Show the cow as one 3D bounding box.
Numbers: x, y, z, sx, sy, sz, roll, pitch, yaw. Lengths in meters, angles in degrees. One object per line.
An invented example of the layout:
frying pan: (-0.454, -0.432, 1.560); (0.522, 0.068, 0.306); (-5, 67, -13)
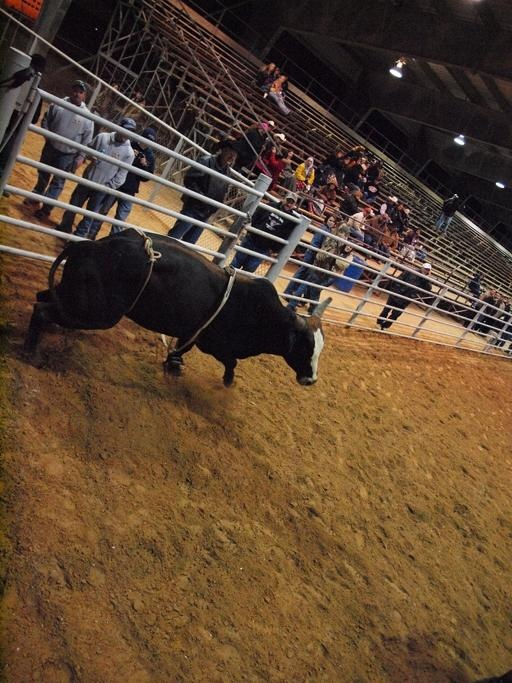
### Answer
cow: (-0.459, -0.127, 3.513); (2.030, 0.830, 0.537); (15, 6, -22)

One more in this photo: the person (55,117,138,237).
person: (-1.538, -1.607, 5.147); (0.447, 1.259, 0.792); (29, 15, -25)

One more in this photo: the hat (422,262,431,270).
hat: (3.902, -1.724, 11.961); (0.202, 0.130, 0.263); (4, 8, 9)

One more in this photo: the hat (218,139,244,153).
hat: (-0.258, -1.939, 5.164); (0.204, 0.100, 0.375); (26, 14, -13)

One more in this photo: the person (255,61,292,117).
person: (0.638, -7.784, 16.221); (0.696, 1.131, 2.095); (23, 6, 17)
